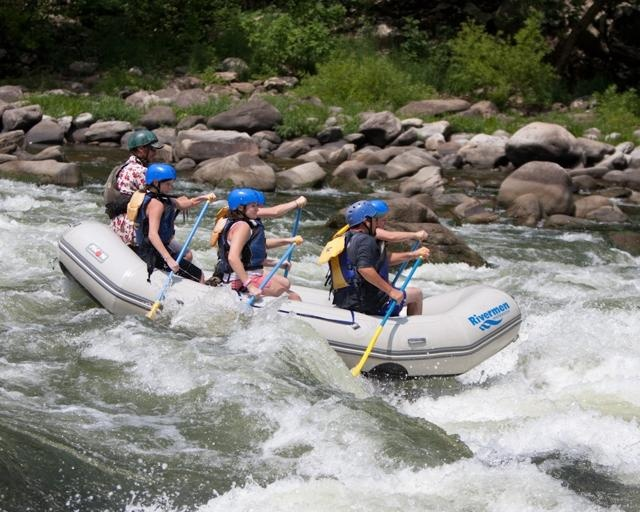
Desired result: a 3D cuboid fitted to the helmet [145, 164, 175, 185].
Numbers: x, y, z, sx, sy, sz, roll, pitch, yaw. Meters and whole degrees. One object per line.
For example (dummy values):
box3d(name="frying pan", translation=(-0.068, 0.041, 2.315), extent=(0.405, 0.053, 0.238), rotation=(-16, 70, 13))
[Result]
box3d(name="helmet", translation=(-1.861, -0.956, 9.520), extent=(0.366, 0.197, 0.247), rotation=(-11, 12, 13))

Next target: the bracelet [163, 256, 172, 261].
box3d(name="bracelet", translation=(-1.725, 0.027, 9.233), extent=(0.088, 0.026, 0.087), rotation=(3, -5, 3))

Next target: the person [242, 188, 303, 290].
box3d(name="person", translation=(-0.465, -0.255, 9.341), extent=(0.595, 0.133, 1.207), rotation=(1, 42, 1))

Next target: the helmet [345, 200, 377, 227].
box3d(name="helmet", translation=(0.448, -0.444, 8.907), extent=(0.334, 0.299, 0.211), rotation=(1, 20, -4))

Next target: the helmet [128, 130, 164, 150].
box3d(name="helmet", translation=(-2.187, -1.427, 10.126), extent=(0.485, 0.162, 0.288), rotation=(-1, 9, -1))

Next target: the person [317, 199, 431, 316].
box3d(name="person", translation=(0.579, 0.056, 8.987), extent=(1.108, 1.323, 0.710), rotation=(6, 21, 8))

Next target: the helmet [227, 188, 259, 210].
box3d(name="helmet", translation=(-0.851, -0.632, 9.147), extent=(0.359, 0.167, 0.237), rotation=(0, 18, 14))

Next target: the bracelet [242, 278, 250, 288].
box3d(name="bracelet", translation=(-0.832, 0.301, 9.023), extent=(0.095, 0.031, 0.095), rotation=(-40, 1, -23))
